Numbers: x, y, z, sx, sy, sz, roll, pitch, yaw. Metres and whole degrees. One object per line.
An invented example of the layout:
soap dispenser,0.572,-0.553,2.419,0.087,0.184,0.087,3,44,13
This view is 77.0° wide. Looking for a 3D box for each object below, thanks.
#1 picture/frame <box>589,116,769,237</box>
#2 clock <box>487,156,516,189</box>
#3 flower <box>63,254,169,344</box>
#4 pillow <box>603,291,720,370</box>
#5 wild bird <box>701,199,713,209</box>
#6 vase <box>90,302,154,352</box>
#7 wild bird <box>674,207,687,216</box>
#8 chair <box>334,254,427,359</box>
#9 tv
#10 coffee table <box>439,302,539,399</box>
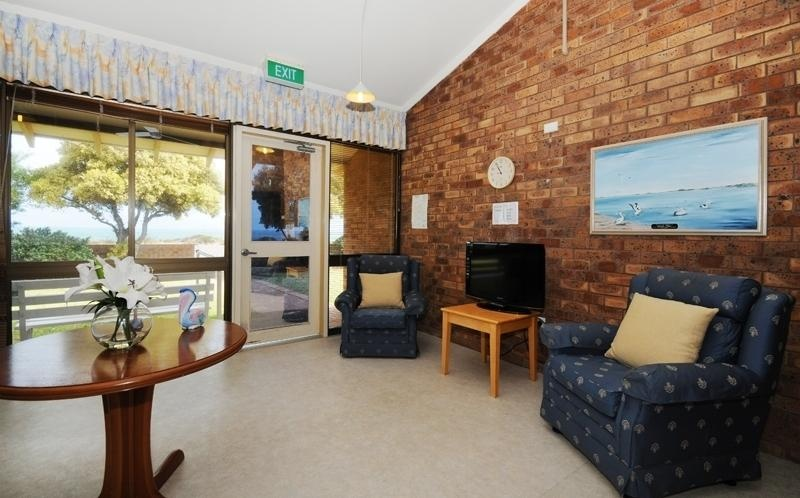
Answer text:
picture/frame,2.724,-0.696,4.806,1.356,0.759,0.049,0,0,39
clock,1.212,-0.914,5.987,0.063,0.404,0.428,8,-9,-33
flower,-2.333,0.390,4.263,0.806,0.719,0.717,0,1,-37
pillow,2.269,0.741,4.432,0.209,0.622,0.698,30,-4,-32
wild bird,2.860,-0.414,4.717,0.036,0.079,0.101,-4,15,4
vase,-2.211,0.605,4.006,0.390,0.265,0.398,1,-3,-16
wild bird,2.682,-0.361,4.827,0.062,0.035,0.080,22,-23,-20
chair,-0.268,0.764,6.607,1.299,1.366,1.183,0,-9,1
tv,1.210,0.323,5.658,0.269,0.600,0.871,7,-5,-41
coffee table,1.028,1.081,5.666,0.893,0.867,0.796,-2,5,-38
